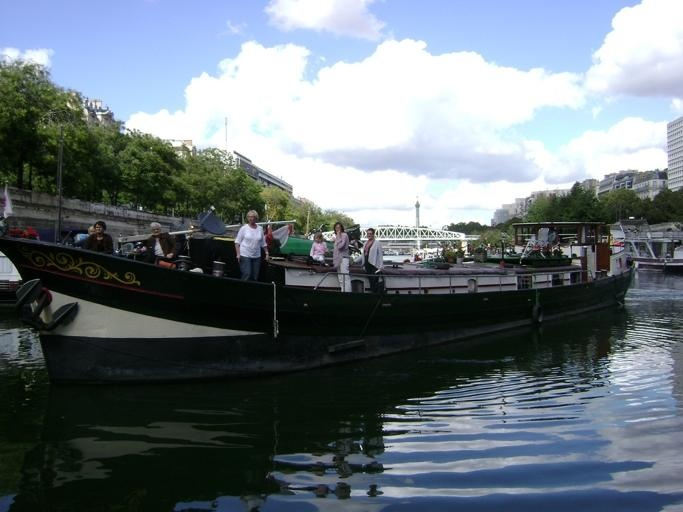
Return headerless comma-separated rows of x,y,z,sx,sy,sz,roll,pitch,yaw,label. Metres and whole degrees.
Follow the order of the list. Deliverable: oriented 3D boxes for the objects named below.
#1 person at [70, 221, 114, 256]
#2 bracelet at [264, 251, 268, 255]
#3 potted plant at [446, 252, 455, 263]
-5.411,-0.397,16.003,0.678,0.714,1.379,-1,4,-17,person
-1.755,-0.047,16.921,0.062,0.074,0.082,2,2,8,bracelet
5.504,0.066,35.988,0.515,0.564,0.596,0,4,2,potted plant
